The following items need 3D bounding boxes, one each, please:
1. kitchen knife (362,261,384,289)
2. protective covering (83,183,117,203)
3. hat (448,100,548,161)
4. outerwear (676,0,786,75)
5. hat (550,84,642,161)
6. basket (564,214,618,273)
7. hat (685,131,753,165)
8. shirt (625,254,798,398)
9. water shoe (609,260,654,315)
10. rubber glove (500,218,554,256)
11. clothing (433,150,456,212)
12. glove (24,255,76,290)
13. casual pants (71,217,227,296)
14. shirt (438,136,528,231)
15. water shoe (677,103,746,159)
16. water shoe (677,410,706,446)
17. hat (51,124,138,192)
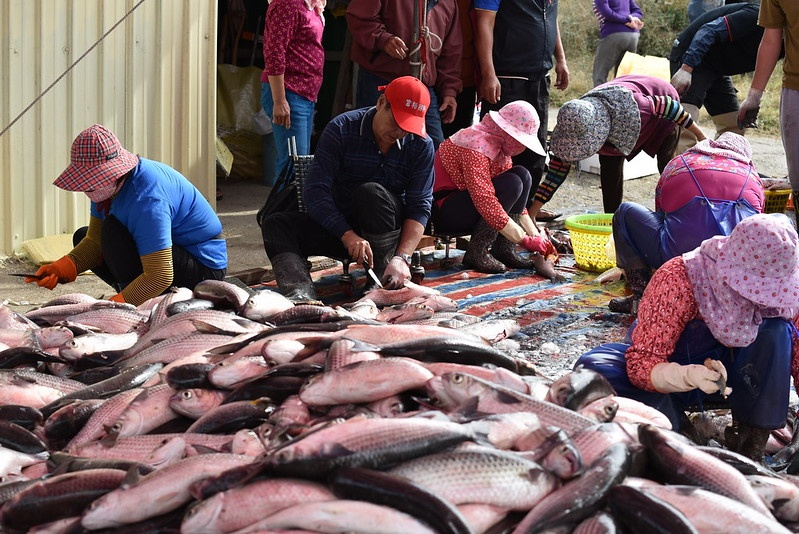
[{"bbox_3d":[-0.186,0.038,4.659,0.052,0.062,0.455,38,7,-19],"label":"kitchen knife"},{"bbox_3d":[-1.806,-0.473,4.313,0.117,0.077,0.152,-27,8,-3],"label":"protective covering"},{"bbox_3d":[0.729,-1.052,5.278,0.554,0.252,0.453,15,4,23],"label":"hat"},{"bbox_3d":[3.115,-2.058,6.778,0.921,0.499,0.791,-4,22,35],"label":"outerwear"},{"bbox_3d":[1.703,-1.210,5.566,0.796,0.452,0.540,-5,27,47],"label":"hat"},{"bbox_3d":[1.562,-0.185,5.815,0.491,0.354,0.497,7,16,35],"label":"basket"},{"bbox_3d":[2.008,-0.704,4.322,0.301,0.119,0.228,6,6,-32],"label":"hat"},{"bbox_3d":[1.447,0.278,3.227,0.566,0.404,0.325,8,30,-11],"label":"shirt"},{"bbox_3d":[1.496,0.130,4.568,0.181,0.298,0.210,-39,63,-24],"label":"water shoe"},{"bbox_3d":[0.957,-0.215,5.277,0.316,0.145,0.338,26,9,1],"label":"rubber glove"},{"bbox_3d":[0.334,-0.676,5.508,0.270,0.376,0.181,4,16,13],"label":"clothing"},{"bbox_3d":[-2.175,0.026,4.454,0.314,0.135,0.184,4,2,-18],"label":"glove"},{"bbox_3d":[-1.662,-0.028,4.556,0.744,0.521,0.607,-7,19,-24],"label":"casual pants"},{"bbox_3d":[0.574,-0.616,5.513,0.730,0.472,0.536,36,18,9],"label":"shirt"},{"bbox_3d":[3.704,-1.596,8.100,0.332,0.285,1.101,23,-3,7],"label":"water shoe"},{"bbox_3d":[1.351,0.753,3.288,0.177,0.182,0.050,12,-39,-38],"label":"water shoe"},{"bbox_3d":[-1.801,-0.638,4.192,0.407,0.264,0.424,-22,23,-21],"label":"hat"}]
